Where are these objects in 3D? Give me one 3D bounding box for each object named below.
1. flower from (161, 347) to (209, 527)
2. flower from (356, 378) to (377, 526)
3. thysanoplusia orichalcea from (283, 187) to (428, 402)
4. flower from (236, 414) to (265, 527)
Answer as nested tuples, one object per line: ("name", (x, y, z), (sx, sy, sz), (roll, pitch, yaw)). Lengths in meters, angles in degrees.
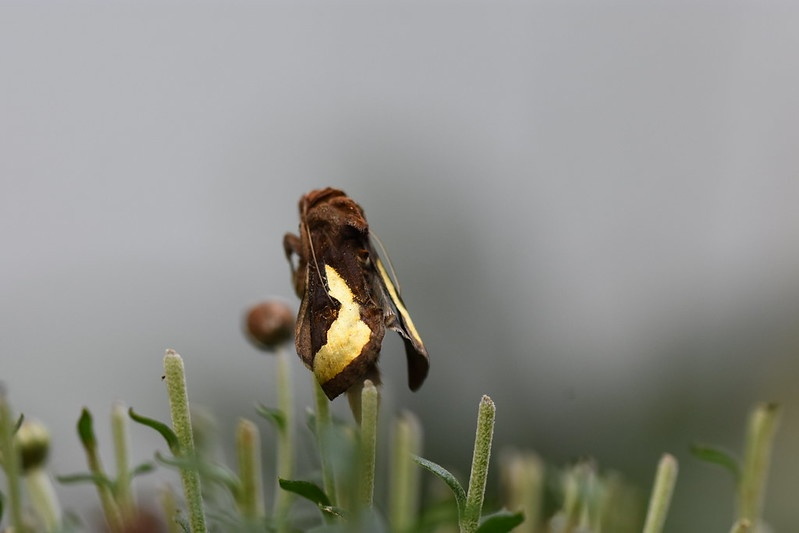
("flower", (-0.278, 0.225, 1.271), (0.053, 0.248, 0.218), (-1, 0, -12))
("flower", (-0.040, 0.230, 1.258), (0.023, 0.160, 0.060), (-1, 1, -1))
("thysanoplusia orichalcea", (-0.059, 0.020, 1.367), (0.220, 0.126, 0.305), (6, 36, -37))
("flower", (-0.213, 0.284, 1.378), (0.047, 0.174, 0.049), (-12, 31, -28))
